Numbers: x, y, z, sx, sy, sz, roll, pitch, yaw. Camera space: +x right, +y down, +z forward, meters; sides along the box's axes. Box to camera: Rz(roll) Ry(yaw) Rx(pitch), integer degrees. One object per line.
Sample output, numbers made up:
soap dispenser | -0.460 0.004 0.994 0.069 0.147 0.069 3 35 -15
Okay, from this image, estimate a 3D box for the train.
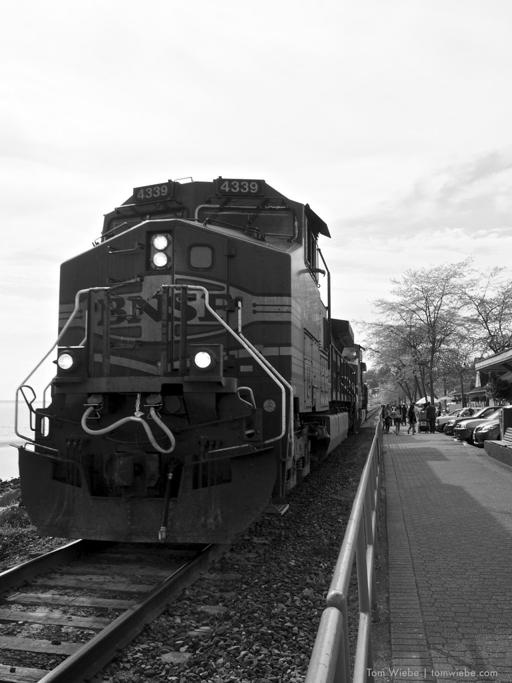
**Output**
train | -0.740 0.301 8.580 2.302 2.859 7.038 -1 0 10
